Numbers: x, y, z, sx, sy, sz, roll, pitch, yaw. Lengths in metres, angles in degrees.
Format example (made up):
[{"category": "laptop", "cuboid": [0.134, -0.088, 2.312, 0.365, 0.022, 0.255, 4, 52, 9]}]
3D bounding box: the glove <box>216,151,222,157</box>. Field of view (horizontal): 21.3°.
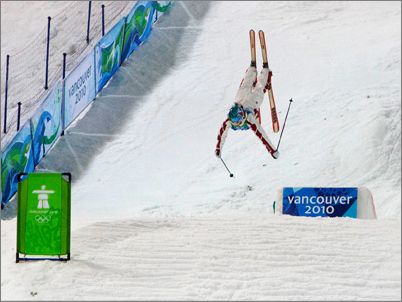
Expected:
[{"category": "glove", "cuboid": [0.850, 0.123, 49.789, 0.243, 0.229, 0.059, 7, -1, 17]}]
